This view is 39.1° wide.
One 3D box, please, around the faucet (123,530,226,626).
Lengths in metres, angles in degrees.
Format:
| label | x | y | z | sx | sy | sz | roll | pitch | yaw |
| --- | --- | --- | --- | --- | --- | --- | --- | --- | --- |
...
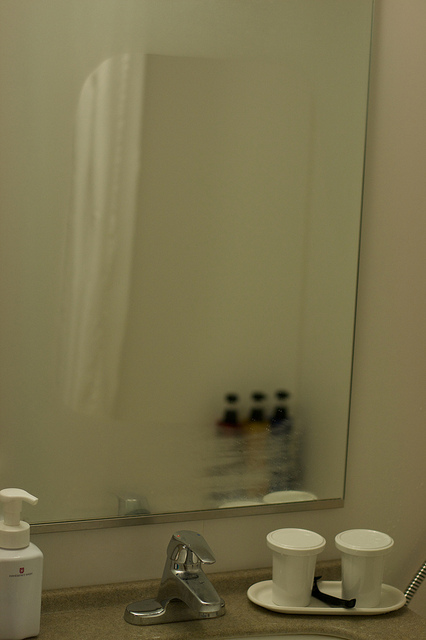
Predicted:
| label | x | y | z | sx | sy | sz | roll | pitch | yaw |
| --- | --- | --- | --- | --- | --- | --- | --- | --- | --- |
| faucet | -0.046 | 0.343 | 0.791 | 0.148 | 0.119 | 0.119 | 3 | 0 | -22 |

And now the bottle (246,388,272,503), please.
| label | x | y | z | sx | sy | sz | roll | pitch | yaw |
| --- | --- | --- | --- | --- | --- | --- | --- | --- | --- |
| bottle | 0.075 | 0.201 | 0.955 | 0.044 | 0.136 | 0.017 | 4 | 3 | -26 |

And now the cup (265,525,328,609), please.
| label | x | y | z | sx | sy | sz | roll | pitch | yaw |
| --- | --- | --- | --- | --- | --- | --- | --- | --- | --- |
| cup | 0.110 | 0.348 | 0.847 | 0.076 | 0.091 | 0.082 | 2 | -2 | 0 |

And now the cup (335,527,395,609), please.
| label | x | y | z | sx | sy | sz | roll | pitch | yaw |
| --- | --- | --- | --- | --- | --- | --- | --- | --- | --- |
| cup | 0.209 | 0.350 | 0.885 | 0.090 | 0.107 | 0.092 | 1 | 8 | 0 |
